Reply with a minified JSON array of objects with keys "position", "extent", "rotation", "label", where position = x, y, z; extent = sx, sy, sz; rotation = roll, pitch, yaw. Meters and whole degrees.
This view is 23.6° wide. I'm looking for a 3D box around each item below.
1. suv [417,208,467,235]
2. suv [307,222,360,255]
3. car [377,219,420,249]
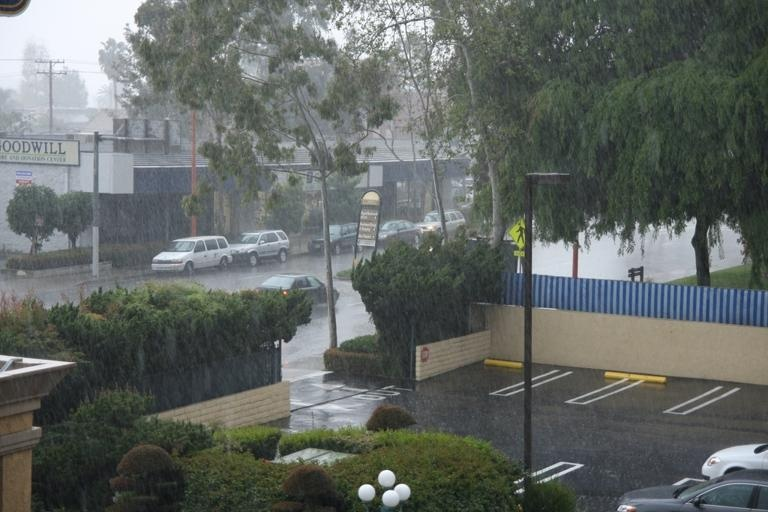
[{"position":[3.541,-2.316,118.425],"extent":[1.508,1.799,3.606],"rotation":[-2,-1,30],"label":"suv"},{"position":[-2.850,-1.037,112.960],"extent":[1.549,1.708,3.497],"rotation":[0,1,25],"label":"suv"},{"position":[0.783,-1.336,113.600],"extent":[1.452,1.442,2.639],"rotation":[-1,-3,41],"label":"car"}]
